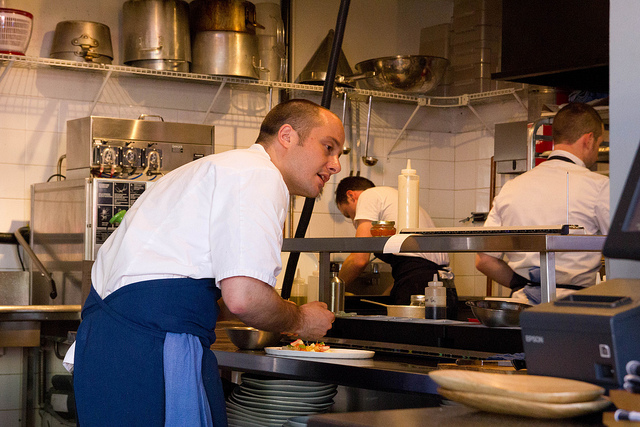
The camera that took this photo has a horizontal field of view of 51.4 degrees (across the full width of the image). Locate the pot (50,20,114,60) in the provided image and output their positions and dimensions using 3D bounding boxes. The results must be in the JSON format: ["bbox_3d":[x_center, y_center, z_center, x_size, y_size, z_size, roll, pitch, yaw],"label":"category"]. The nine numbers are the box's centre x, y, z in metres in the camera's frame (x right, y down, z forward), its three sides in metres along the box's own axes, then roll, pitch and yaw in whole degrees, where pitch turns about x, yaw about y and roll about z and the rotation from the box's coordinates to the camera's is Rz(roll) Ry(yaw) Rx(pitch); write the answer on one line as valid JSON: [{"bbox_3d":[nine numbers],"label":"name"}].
[{"bbox_3d":[-1.607,-1.181,4.583,0.454,0.244,0.452,4,11,-1],"label":"pot"}]

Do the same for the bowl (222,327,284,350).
[{"bbox_3d":[-0.230,0.426,2.295,0.156,0.074,0.143,1,-3,0],"label":"bowl"}]

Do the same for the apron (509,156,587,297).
[{"bbox_3d":[0.994,0.047,3.017,0.517,0.642,0.170,3,13,22],"label":"apron"}]

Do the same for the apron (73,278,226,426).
[{"bbox_3d":[-0.479,0.380,1.844,0.394,0.410,0.145,1,-3,-8],"label":"apron"}]

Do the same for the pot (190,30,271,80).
[{"bbox_3d":[-0.727,-1.143,4.855,0.502,0.301,0.501,0,6,0],"label":"pot"}]

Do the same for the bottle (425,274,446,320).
[{"bbox_3d":[0.437,0.310,2.517,0.078,0.166,0.155,0,-3,10],"label":"bottle"}]

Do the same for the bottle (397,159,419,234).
[{"bbox_3d":[0.348,-0.084,2.623,0.076,0.288,0.223,0,-3,6],"label":"bottle"}]

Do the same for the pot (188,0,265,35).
[{"bbox_3d":[-0.670,-1.359,4.630,0.367,0.119,0.260,0,0,-10],"label":"pot"}]

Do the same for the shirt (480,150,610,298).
[{"bbox_3d":[1.020,0.034,3.013,0.532,0.698,0.382,0,-3,13],"label":"shirt"}]

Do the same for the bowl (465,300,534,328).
[{"bbox_3d":[0.593,0.334,2.230,0.196,0.079,0.230,0,-3,18],"label":"bowl"}]

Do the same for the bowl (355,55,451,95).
[{"bbox_3d":[0.567,-1.030,4.862,0.406,0.120,0.401,-2,-2,0],"label":"bowl"}]

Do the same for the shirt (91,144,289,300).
[{"bbox_3d":[-0.337,-0.017,2.011,0.651,0.375,0.680,-11,12,-18],"label":"shirt"}]

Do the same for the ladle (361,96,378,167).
[{"bbox_3d":[0.412,-0.692,5.509,0.137,0.561,0.455,1,-3,5],"label":"ladle"}]

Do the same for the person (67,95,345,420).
[{"bbox_3d":[-0.501,0.074,2.471,0.980,1.491,0.811,2,6,-23],"label":"person"}]
